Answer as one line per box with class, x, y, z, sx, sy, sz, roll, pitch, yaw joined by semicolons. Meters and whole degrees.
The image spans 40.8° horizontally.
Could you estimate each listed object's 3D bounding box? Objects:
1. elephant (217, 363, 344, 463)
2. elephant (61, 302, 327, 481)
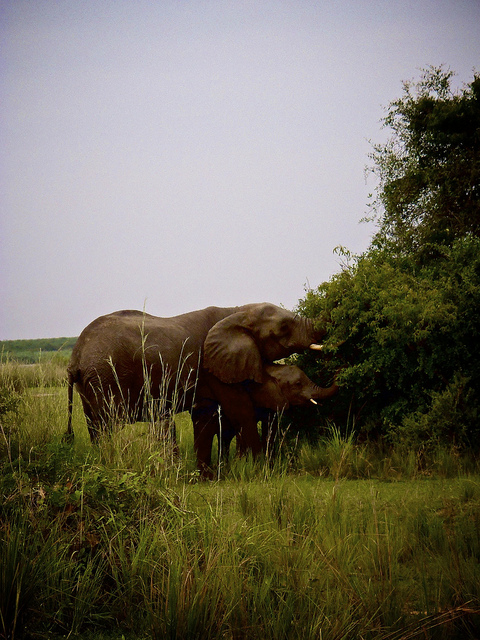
elephant;0.299;0.871;6.195;1.327;1.183;0.793;-2;15;10
elephant;-0.513;0.423;6.435;2.789;2.389;1.205;-4;1;-11
